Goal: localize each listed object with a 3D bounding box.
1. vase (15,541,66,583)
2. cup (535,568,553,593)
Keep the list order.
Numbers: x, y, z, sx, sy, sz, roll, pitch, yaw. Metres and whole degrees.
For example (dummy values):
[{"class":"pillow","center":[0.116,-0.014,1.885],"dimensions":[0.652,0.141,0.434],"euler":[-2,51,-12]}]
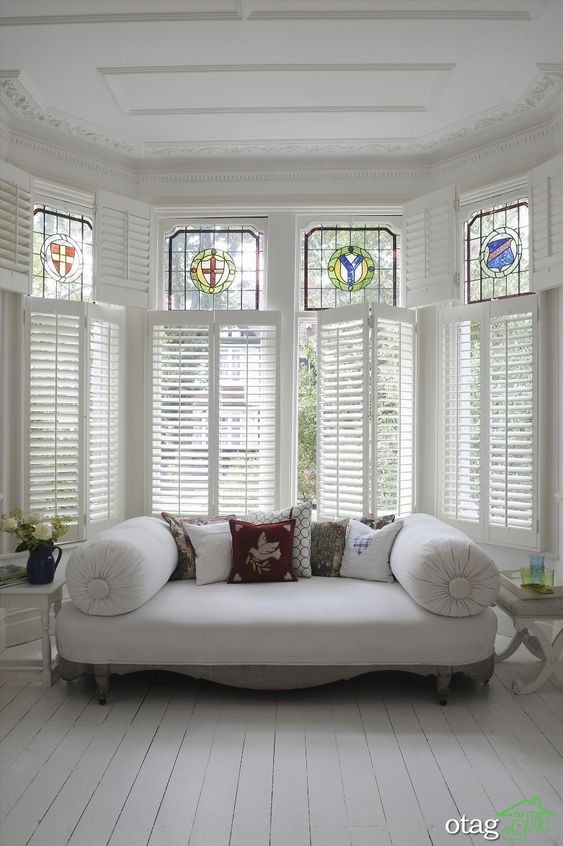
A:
[{"class":"vase","center":[-1.033,0.633,3.258],"dimensions":[0.124,0.208,0.206],"euler":[-3,-14,11]},{"class":"cup","center":[1.083,0.655,3.019],"dimensions":[0.075,0.136,0.074],"euler":[3,4,0]}]
